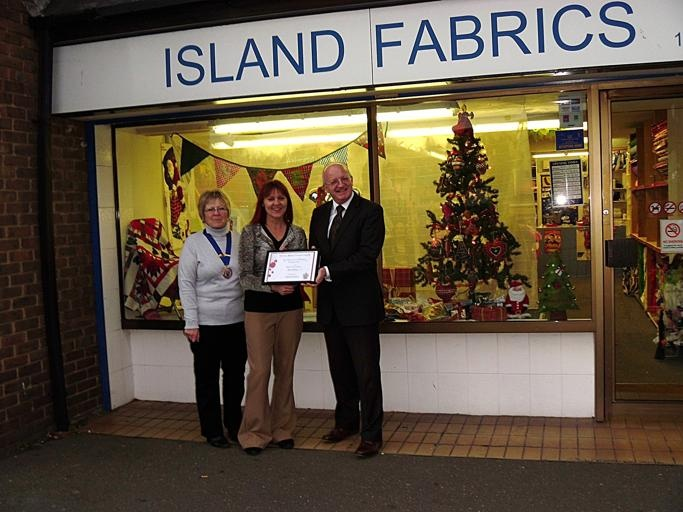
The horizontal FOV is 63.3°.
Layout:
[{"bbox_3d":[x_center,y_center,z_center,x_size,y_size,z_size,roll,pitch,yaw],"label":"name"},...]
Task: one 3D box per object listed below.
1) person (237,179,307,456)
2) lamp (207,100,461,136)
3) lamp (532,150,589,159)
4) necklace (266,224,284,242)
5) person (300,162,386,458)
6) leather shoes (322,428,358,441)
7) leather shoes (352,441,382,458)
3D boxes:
[{"bbox_3d":[-0.609,0.506,4.771,0.641,2.299,0.436,-2,3,-8],"label":"person"},{"bbox_3d":[-0.119,-1.345,5.518,2.440,0.221,0.067,-1,3,13],"label":"lamp"},{"bbox_3d":[1.996,-0.922,5.083,0.475,0.069,0.055,0,4,25],"label":"lamp"},{"bbox_3d":[-0.576,-0.196,4.843,0.173,0.150,0.061,0,-8,-15],"label":"necklace"},{"bbox_3d":[0.076,0.432,4.727,0.587,2.406,0.506,-2,3,-4],"label":"person"},{"bbox_3d":[-0.019,1.577,4.994,0.311,0.128,0.105,4,-8,-33],"label":"leather shoes"},{"bbox_3d":[0.206,1.587,4.579,0.090,0.098,0.237,-6,-10,27],"label":"leather shoes"}]
